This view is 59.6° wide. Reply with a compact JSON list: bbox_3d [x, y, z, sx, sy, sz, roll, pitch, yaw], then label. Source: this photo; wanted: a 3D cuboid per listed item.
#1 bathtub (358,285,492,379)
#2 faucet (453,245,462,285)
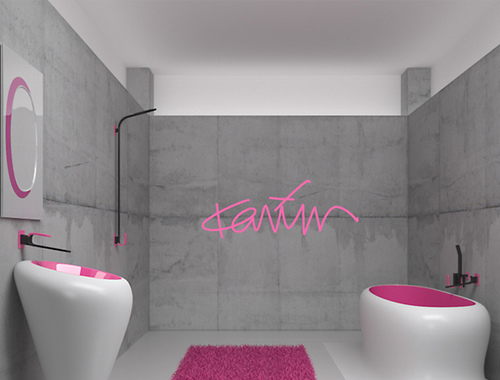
[{"bbox_3d":[1.752,1.454,4.390,1.242,0.780,0.712,0,2,15],"label":"bathtub"},{"bbox_3d":[2.175,0.773,4.558,0.083,0.420,0.206,1,3,26],"label":"faucet"}]
